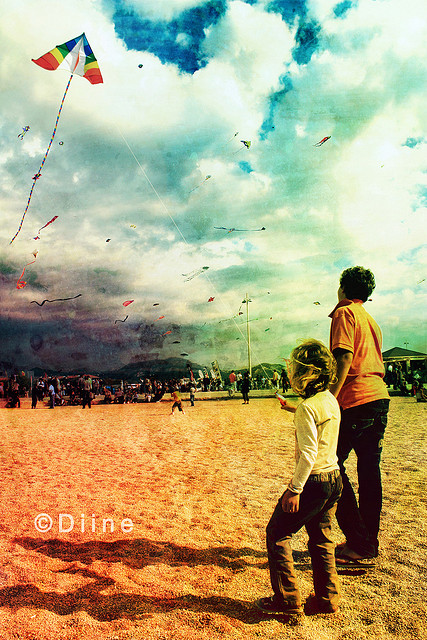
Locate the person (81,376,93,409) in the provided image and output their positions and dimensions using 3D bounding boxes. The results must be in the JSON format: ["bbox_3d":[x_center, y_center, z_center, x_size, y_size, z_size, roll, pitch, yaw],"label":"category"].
[{"bbox_3d":[-6.141,3.547,22.573,0.473,1.502,1.304,2,-6,-15],"label":"person"}]

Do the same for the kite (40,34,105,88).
[{"bbox_3d":[-2.339,-4.392,7.837,0.419,0.636,0.935,-5,-8,37],"label":"kite"}]

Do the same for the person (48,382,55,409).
[{"bbox_3d":[-7.783,3.692,22.521,0.228,1.189,0.494,2,-7,-21],"label":"person"}]

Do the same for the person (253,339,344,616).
[{"bbox_3d":[0.536,0.914,2.672,0.485,1.600,0.396,0,-6,-2],"label":"person"}]

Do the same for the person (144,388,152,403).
[{"bbox_3d":[-4.039,4.653,28.969,0.451,0.788,1.318,1,-6,-8],"label":"person"}]
